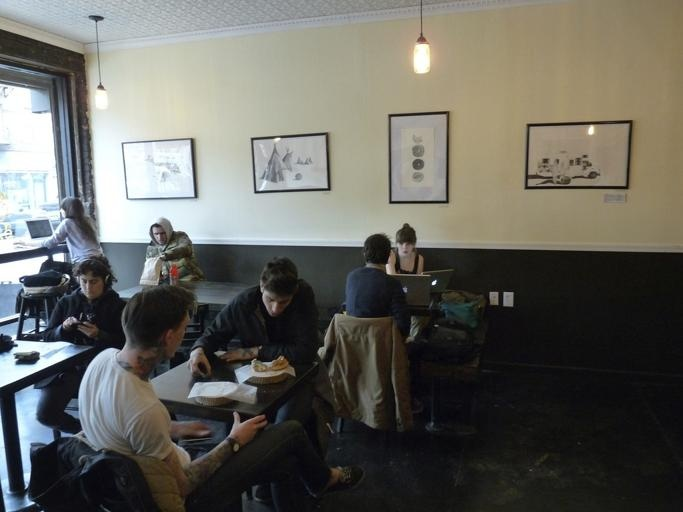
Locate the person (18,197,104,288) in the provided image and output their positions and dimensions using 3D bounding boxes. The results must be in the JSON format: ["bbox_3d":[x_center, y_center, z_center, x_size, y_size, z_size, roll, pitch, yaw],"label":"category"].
[{"bbox_3d":[-2.992,-0.026,5.657,0.831,1.157,0.591,-1,-3,11],"label":"person"}]

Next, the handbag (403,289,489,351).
[{"bbox_3d":[1.129,0.500,4.921,0.640,0.365,0.850,-4,5,20],"label":"handbag"}]

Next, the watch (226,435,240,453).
[{"bbox_3d":[-0.561,0.964,2.716,0.066,0.081,0.040,9,25,40],"label":"watch"}]

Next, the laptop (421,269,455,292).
[{"bbox_3d":[0.874,0.206,4.659,0.290,0.207,0.215,-4,18,-15],"label":"laptop"}]

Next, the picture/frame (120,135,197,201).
[{"bbox_3d":[-2.178,-1.003,6.065,0.023,0.675,0.905,-8,8,21],"label":"picture/frame"}]

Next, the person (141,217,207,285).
[{"bbox_3d":[-1.786,-0.040,5.644,0.402,0.827,0.568,-23,-11,16],"label":"person"}]

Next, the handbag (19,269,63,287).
[{"bbox_3d":[-2.907,0.233,5.067,0.214,0.098,0.260,-2,-2,42],"label":"handbag"}]

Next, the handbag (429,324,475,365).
[{"bbox_3d":[0.984,0.732,4.464,0.431,0.326,0.339,4,-11,34],"label":"handbag"}]

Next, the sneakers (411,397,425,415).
[{"bbox_3d":[0.656,1.295,4.492,0.122,0.149,0.346,-3,-9,6],"label":"sneakers"}]

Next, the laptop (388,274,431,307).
[{"bbox_3d":[0.585,0.247,4.267,0.326,0.241,0.247,1,8,15],"label":"laptop"}]

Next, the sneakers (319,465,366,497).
[{"bbox_3d":[0.010,1.352,3.275,0.313,0.129,0.142,-17,33,-36],"label":"sneakers"}]

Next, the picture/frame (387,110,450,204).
[{"bbox_3d":[0.795,-1.026,5.239,0.847,1.200,0.048,1,8,17],"label":"picture/frame"}]

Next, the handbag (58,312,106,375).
[{"bbox_3d":[-1.793,0.556,3.627,0.296,0.411,0.155,23,40,13],"label":"handbag"}]

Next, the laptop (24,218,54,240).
[{"bbox_3d":[-3.351,-0.310,5.748,0.207,0.189,0.272,7,12,24],"label":"laptop"}]

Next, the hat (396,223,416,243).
[{"bbox_3d":[0.600,-0.206,4.909,0.142,0.211,0.148,-1,14,9],"label":"hat"}]

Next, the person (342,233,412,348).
[{"bbox_3d":[0.301,0.254,4.055,0.500,0.928,0.498,15,26,24],"label":"person"}]
